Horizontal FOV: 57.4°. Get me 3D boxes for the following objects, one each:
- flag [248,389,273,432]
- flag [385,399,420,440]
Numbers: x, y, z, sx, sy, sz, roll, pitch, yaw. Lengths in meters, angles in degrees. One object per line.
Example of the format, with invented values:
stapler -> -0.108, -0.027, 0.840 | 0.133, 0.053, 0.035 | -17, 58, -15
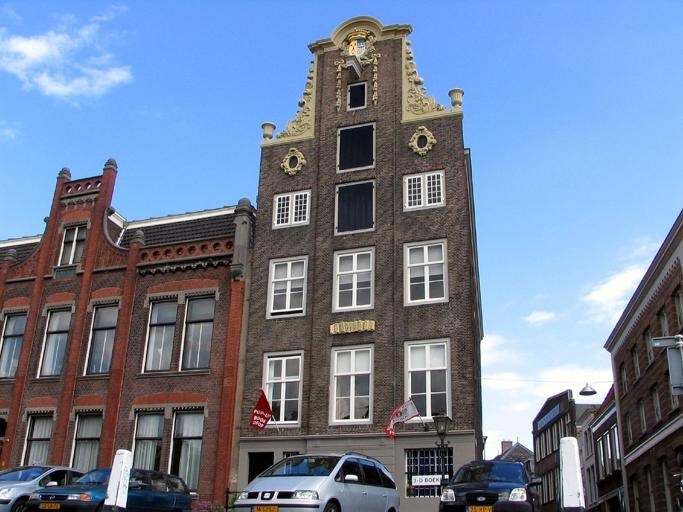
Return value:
flag -> -3.425, 6.542, 26.729 | 0.994, 1.687, 1.516 | 3, -23, -8
flag -> 2.306, 6.333, 24.450 | 1.387, 1.710, 0.126 | -5, -50, -8
